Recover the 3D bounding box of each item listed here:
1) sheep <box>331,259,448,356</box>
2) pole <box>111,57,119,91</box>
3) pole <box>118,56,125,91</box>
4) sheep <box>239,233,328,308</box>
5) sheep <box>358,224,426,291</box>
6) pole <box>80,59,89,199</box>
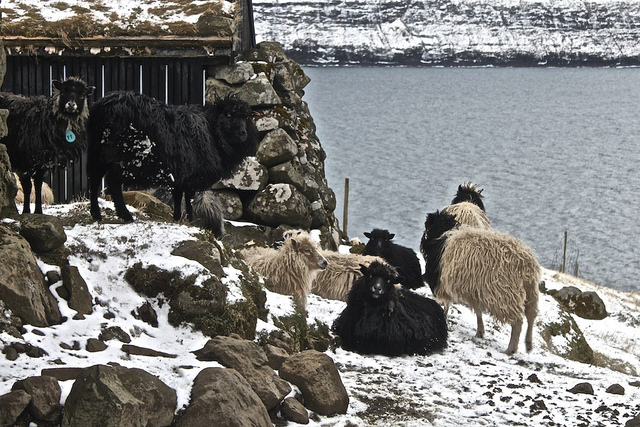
[{"bbox_3d":[2.039,3.169,35.102,2.778,5.461,2.929,4,34,-1],"label":"sheep"},{"bbox_3d":[-6.805,-4.690,38.194,0.248,1.038,0.151,-3,9,-5],"label":"pole"},{"bbox_3d":[-6.581,-4.712,38.184,0.247,1.086,0.151,-4,9,-13],"label":"pole"},{"bbox_3d":[-1.112,1.842,35.854,3.336,3.093,1.680,12,17,41],"label":"sheep"},{"bbox_3d":[2.546,1.596,37.262,1.444,1.668,2.450,0,-29,41],"label":"sheep"},{"bbox_3d":[-7.176,-2.787,34.984,0.159,4.697,0.118,0,5,-2],"label":"pole"}]
